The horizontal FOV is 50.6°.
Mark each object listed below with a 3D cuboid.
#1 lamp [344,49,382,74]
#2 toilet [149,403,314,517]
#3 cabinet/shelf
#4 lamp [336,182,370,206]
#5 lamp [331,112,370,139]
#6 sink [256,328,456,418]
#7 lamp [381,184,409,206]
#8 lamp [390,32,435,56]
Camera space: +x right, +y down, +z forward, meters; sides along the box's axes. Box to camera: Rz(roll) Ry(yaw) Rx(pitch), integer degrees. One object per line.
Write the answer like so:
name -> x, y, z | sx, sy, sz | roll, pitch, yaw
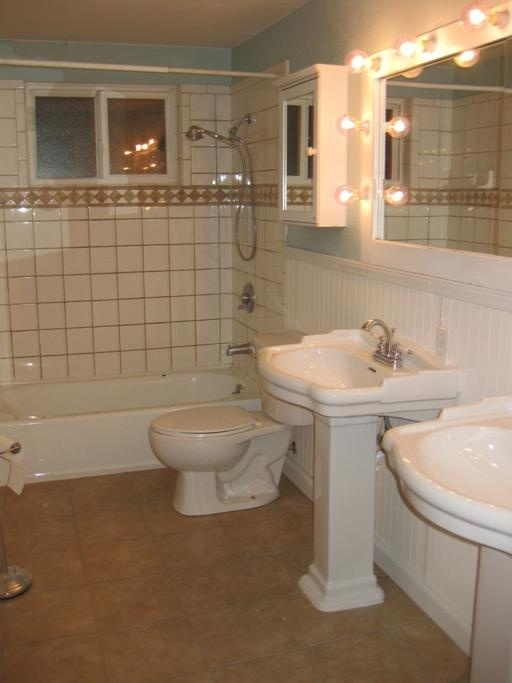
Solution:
lamp -> 0.366, -0.929, 1.812 | 0.118, 0.057, 0.065 | -13, 53, -29
toilet -> -0.148, 0.547, 2.577 | 0.662, 0.390, 0.399 | -1, 6, -26
cabinet/shelf -> 0.233, -0.797, 2.282 | 0.210, 0.631, 0.445 | -1, 8, -11
lamp -> 0.358, -0.565, 2.089 | 0.108, 0.060, 0.193 | 0, 7, -5
lamp -> 0.348, -0.791, 1.985 | 0.121, 0.066, 0.059 | 2, -6, -18
sink -> 0.274, 0.149, 1.816 | 0.515, 0.329, 0.622 | -2, 8, -15
lamp -> 0.480, -0.501, 1.864 | 0.089, 0.075, 0.074 | 13, -1, 25
lamp -> 0.444, -0.840, 1.537 | 0.105, 0.063, 0.043 | 2, 2, 28
